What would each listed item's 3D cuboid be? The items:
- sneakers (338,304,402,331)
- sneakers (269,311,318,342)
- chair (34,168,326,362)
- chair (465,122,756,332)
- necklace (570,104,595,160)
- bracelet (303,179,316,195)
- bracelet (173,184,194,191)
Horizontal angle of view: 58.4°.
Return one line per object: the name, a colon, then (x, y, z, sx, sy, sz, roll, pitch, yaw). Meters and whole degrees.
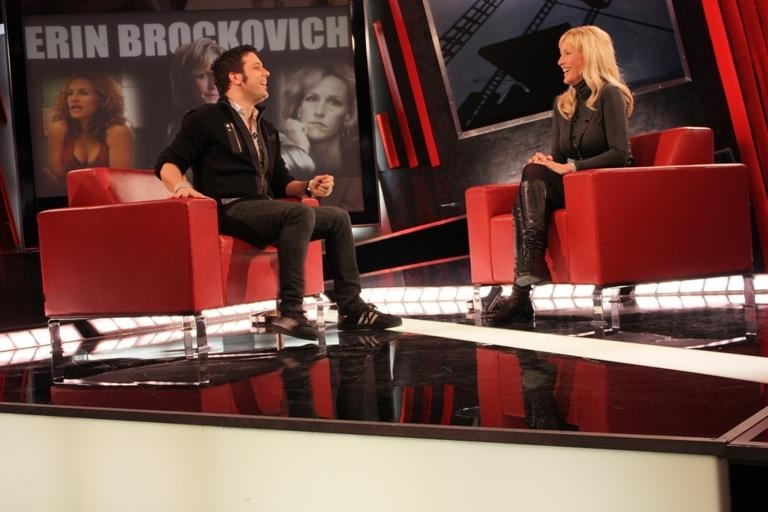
sneakers: (-0.079, 0.307, 3.397, 0.329, 0.126, 0.122, -1, 1, -4)
sneakers: (-0.398, 0.314, 3.087, 0.274, 0.112, 0.094, 9, 13, 17)
chair: (-0.937, -0.021, 3.397, 0.822, 0.754, 1.089, -2, 3, 22)
chair: (1.163, -0.166, 3.735, 1.047, 0.914, 1.265, -6, 3, -26)
necklace: (1.026, -0.650, 3.554, 0.080, 0.221, 0.173, 3, 5, 3)
bracelet: (-0.371, -0.344, 3.457, 0.047, 0.065, 0.068, 6, 4, 9)
bracelet: (-0.873, -0.293, 2.958, 0.050, 0.020, 0.054, -6, 3, -4)
